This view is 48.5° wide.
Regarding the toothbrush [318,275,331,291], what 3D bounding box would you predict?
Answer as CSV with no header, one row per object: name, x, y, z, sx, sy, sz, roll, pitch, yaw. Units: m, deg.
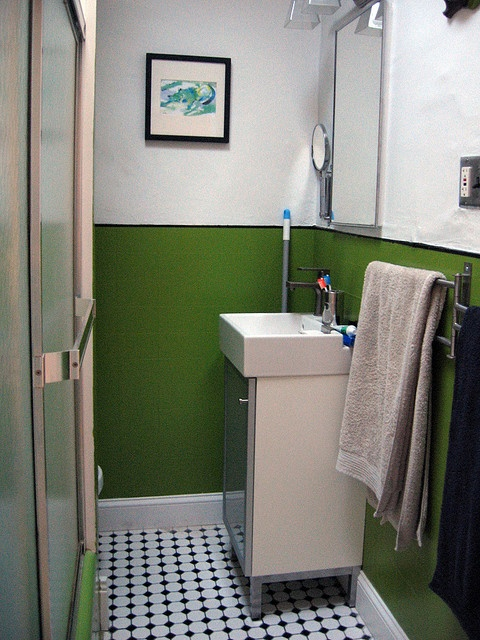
toothbrush,0.326,-0.143,2.041,0.033,0.091,0.061,-8,9,-30

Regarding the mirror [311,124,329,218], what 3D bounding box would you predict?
mirror,0.337,-0.607,2.206,0.045,0.389,0.240,0,5,-5

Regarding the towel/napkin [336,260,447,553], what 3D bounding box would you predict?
towel/napkin,0.415,0.215,1.473,0.121,0.737,0.399,-1,5,-19

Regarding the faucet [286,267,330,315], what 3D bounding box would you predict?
faucet,0.291,-0.123,2.224,0.162,0.186,0.383,2,7,10
